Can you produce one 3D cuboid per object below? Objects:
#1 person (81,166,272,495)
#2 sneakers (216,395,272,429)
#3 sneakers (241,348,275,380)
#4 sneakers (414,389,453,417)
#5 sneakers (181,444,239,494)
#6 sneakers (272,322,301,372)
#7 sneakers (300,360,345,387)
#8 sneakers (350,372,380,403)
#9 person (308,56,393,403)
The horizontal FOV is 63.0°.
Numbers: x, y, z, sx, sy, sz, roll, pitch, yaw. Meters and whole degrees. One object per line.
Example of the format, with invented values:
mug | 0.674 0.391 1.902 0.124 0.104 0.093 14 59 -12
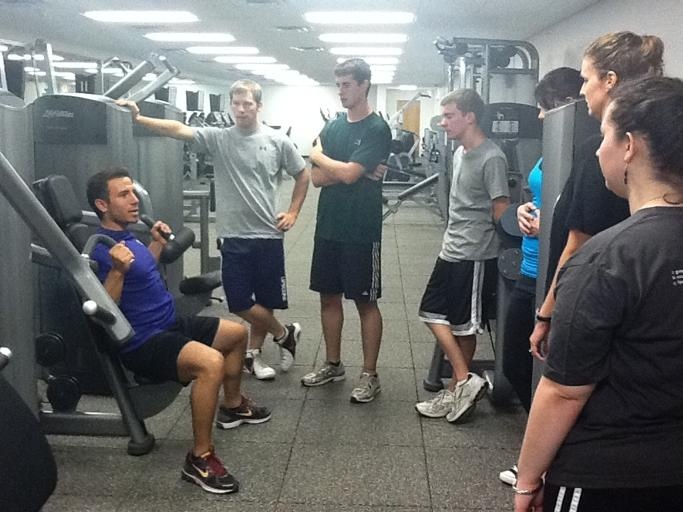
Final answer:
person | -0.705 0.261 2.225 0.678 1.161 0.629 -2 13 -7
sneakers | -0.453 0.728 2.621 0.278 0.126 0.102 -1 4 -21
sneakers | -0.440 0.589 3.120 0.273 0.152 0.101 10 11 39
sneakers | 0.460 0.713 2.698 0.224 0.096 0.082 -3 5 -6
sneakers | -0.495 0.806 2.181 0.255 0.131 0.102 15 8 25
sneakers | -0.314 0.516 3.213 0.139 0.285 0.101 -4 9 -37
sneakers | -0.088 0.636 3.037 0.275 0.122 0.093 -5 10 -25
sneakers | 0.122 0.663 2.792 0.081 0.092 0.207 -2 -1 19
person | 0.026 -0.139 2.872 0.467 1.667 0.529 6 14 23
